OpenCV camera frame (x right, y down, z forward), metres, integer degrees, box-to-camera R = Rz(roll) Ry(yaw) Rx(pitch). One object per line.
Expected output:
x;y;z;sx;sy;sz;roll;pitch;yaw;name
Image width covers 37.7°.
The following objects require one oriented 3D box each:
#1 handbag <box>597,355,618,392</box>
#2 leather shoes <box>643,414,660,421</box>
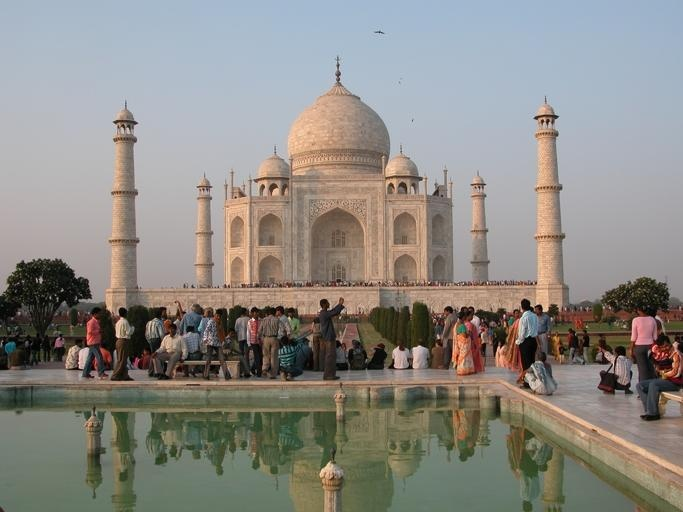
3.848;1.736;14.427;0.204;0.492;0.388;1;-5;-25;handbag
3.921;2.052;12.637;0.195;0.085;0.072;4;-6;-4;leather shoes
